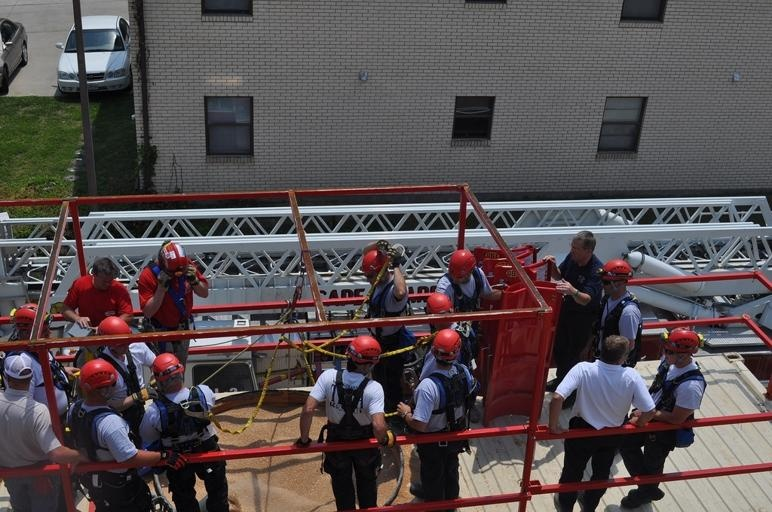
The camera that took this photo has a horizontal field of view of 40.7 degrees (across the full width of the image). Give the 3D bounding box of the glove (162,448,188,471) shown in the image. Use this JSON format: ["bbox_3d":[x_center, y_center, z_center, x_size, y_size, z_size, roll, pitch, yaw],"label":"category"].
[{"bbox_3d":[-3.016,2.866,14.684,0.332,0.380,0.380,-1,10,-14],"label":"glove"}]

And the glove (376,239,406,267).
[{"bbox_3d":[0.036,-0.124,16.317,0.224,0.349,0.482,-46,30,-8],"label":"glove"}]

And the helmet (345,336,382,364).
[{"bbox_3d":[-0.328,1.274,14.895,0.443,0.418,0.332,-5,16,-19],"label":"helmet"}]

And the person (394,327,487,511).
[{"bbox_3d":[0.773,2.428,15.047,1.099,2.801,0.542,0,10,-10],"label":"person"}]

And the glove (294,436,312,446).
[{"bbox_3d":[-1.179,2.581,14.722,0.193,0.081,0.105,3,7,-5],"label":"glove"}]

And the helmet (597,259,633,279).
[{"bbox_3d":[3.602,0.201,16.227,0.385,0.358,0.306,9,-1,10],"label":"helmet"}]

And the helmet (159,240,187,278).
[{"bbox_3d":[-3.321,-0.036,16.227,0.445,0.531,0.605,-8,25,-21],"label":"helmet"}]

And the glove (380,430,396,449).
[{"bbox_3d":[0.026,2.533,14.593,0.186,0.158,0.225,-4,2,13],"label":"glove"}]

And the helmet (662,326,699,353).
[{"bbox_3d":[4.311,1.226,15.125,0.420,0.393,0.325,19,14,15],"label":"helmet"}]

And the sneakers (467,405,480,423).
[{"bbox_3d":[1.433,2.505,16.609,0.198,0.153,0.386,-7,16,-8],"label":"sneakers"}]

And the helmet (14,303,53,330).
[{"bbox_3d":[-5.221,0.838,15.412,0.348,0.438,0.462,15,21,22],"label":"helmet"}]

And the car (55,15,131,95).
[{"bbox_3d":[-8.028,-5.673,29.044,2.035,1.796,4.223,-2,23,-6],"label":"car"}]

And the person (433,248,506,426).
[{"bbox_3d":[1.310,0.893,16.429,1.274,1.844,0.692,-15,12,-11],"label":"person"}]

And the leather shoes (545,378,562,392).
[{"bbox_3d":[2.755,2.091,17.198,0.266,0.094,0.196,-47,26,-10],"label":"leather shoes"}]

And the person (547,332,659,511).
[{"bbox_3d":[3.102,2.510,15.160,1.426,2.821,0.705,3,10,8],"label":"person"}]

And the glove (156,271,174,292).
[{"bbox_3d":[-3.447,0.349,16.150,0.266,0.267,0.259,29,40,25],"label":"glove"}]

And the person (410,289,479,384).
[{"bbox_3d":[0.975,1.200,15.773,0.865,1.280,1.151,5,-4,6],"label":"person"}]

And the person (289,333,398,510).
[{"bbox_3d":[-0.544,2.431,14.915,1.247,2.608,0.790,1,10,-4],"label":"person"}]

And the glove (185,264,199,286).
[{"bbox_3d":[-3.008,0.278,16.182,0.138,0.284,0.211,-23,15,3],"label":"glove"}]

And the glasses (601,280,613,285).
[{"bbox_3d":[3.446,0.395,16.121,0.097,0.053,0.081,-2,8,3],"label":"glasses"}]
